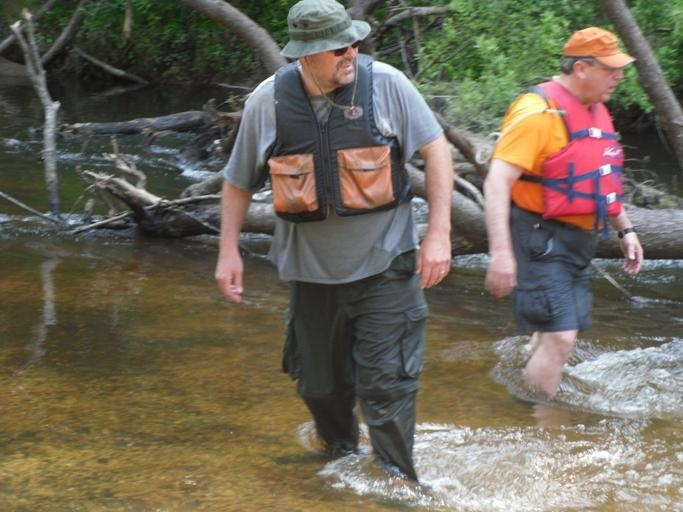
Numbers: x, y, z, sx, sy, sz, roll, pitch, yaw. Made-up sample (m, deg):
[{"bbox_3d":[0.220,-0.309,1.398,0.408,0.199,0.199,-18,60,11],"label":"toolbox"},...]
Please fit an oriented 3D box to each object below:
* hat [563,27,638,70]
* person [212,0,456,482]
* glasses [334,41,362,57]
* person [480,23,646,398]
[{"bbox_3d":[1.611,-1.301,4.770,0.529,0.164,0.269,4,20,13],"label":"hat"},{"bbox_3d":[-0.007,-0.069,4.260,1.230,2.639,0.355,6,11,19],"label":"person"},{"bbox_3d":[0.000,-1.096,4.051,0.134,0.028,0.118,-18,24,-17],"label":"glasses"},{"bbox_3d":[1.299,-0.241,4.862,1.015,2.440,0.429,-1,11,-23],"label":"person"}]
